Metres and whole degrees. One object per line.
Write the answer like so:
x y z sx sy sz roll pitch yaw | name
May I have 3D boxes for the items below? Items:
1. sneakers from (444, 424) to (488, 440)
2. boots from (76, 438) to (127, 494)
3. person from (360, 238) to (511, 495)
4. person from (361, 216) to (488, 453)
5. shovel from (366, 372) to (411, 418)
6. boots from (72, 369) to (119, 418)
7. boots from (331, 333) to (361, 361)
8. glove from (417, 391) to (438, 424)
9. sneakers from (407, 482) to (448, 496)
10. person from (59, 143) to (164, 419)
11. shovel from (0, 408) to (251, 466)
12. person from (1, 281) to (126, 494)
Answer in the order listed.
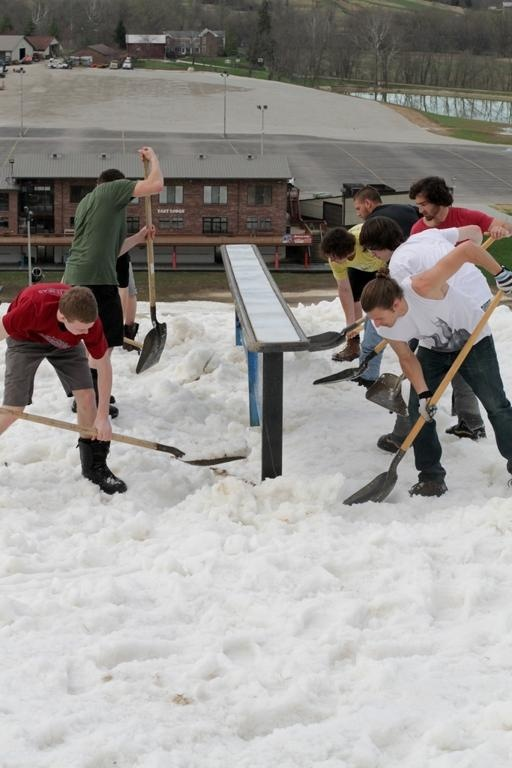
1.404 0.303 5.658 0.262 0.099 0.094 18 16 42 | sneakers
-0.931 0.501 5.154 0.368 0.318 0.184 20 28 33 | boots
1.005 -0.060 4.544 0.788 1.427 0.906 0 13 9 | person
1.201 -0.138 5.932 1.139 1.379 0.513 -5 -29 13 | person
0.813 0.067 5.257 0.204 0.298 0.101 -31 -4 29 | shovel
-1.003 0.063 5.151 0.302 0.169 0.337 5 -25 4 | boots
0.747 -0.299 7.401 0.355 0.196 0.130 -4 14 -12 | boots
0.973 0.123 4.560 0.082 0.148 0.121 -11 -5 -13 | glove
0.977 0.582 4.735 0.177 0.063 0.094 1 4 28 | sneakers
-0.952 -0.702 5.871 0.884 1.700 0.803 -4 2 -39 | person
-0.919 0.370 5.646 1.326 0.121 0.095 12 36 -10 | shovel
-1.138 0.072 4.744 0.705 1.292 1.017 -5 12 -10 | person
